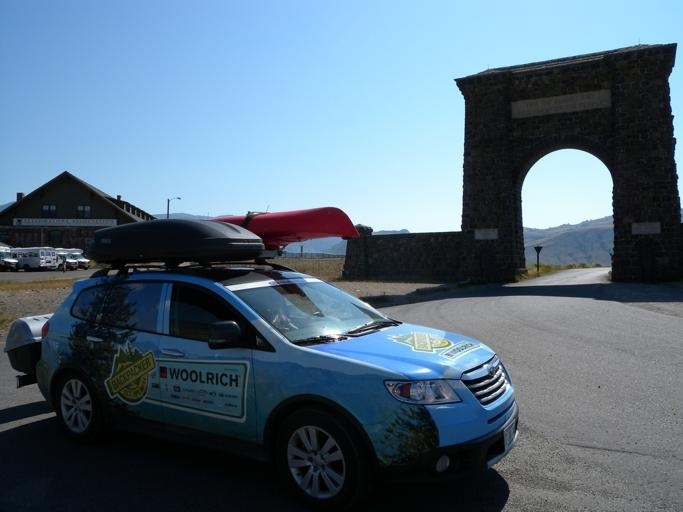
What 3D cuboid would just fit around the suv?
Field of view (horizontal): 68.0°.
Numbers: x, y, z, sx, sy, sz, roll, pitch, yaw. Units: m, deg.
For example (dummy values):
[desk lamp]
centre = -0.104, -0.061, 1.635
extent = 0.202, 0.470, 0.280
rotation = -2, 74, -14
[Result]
[suv]
centre = -0.928, 1.110, 5.879
extent = 5.265, 1.706, 2.211
rotation = -1, -1, 25
